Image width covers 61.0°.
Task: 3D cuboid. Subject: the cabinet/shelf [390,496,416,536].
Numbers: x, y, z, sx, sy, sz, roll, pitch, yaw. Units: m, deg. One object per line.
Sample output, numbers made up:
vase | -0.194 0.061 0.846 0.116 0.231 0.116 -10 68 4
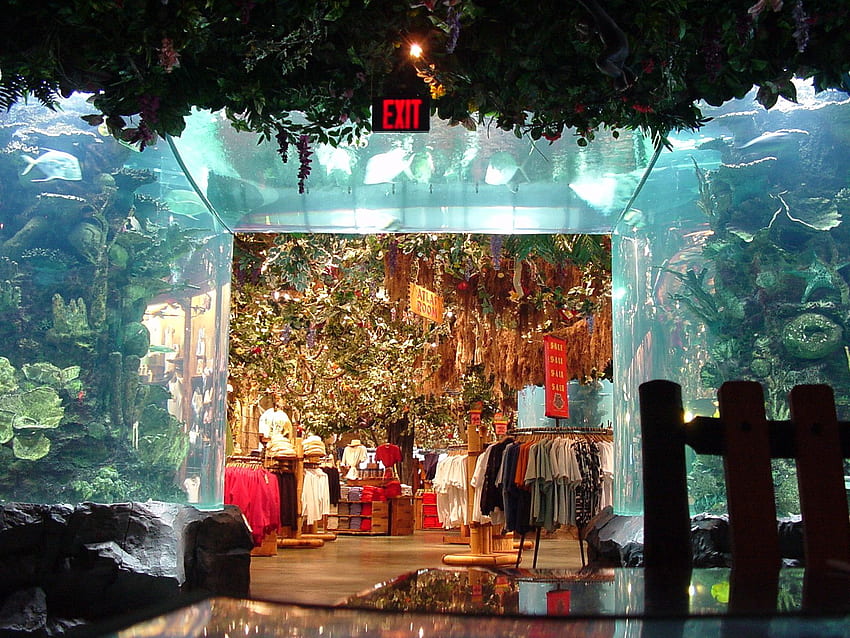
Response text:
cabinet/shelf | -0.485 3.719 13.759 0.599 0.639 0.620 0 -12 -6

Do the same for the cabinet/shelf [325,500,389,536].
cabinet/shelf | -1.307 3.649 13.458 1.190 0.616 0.574 -1 -4 21
